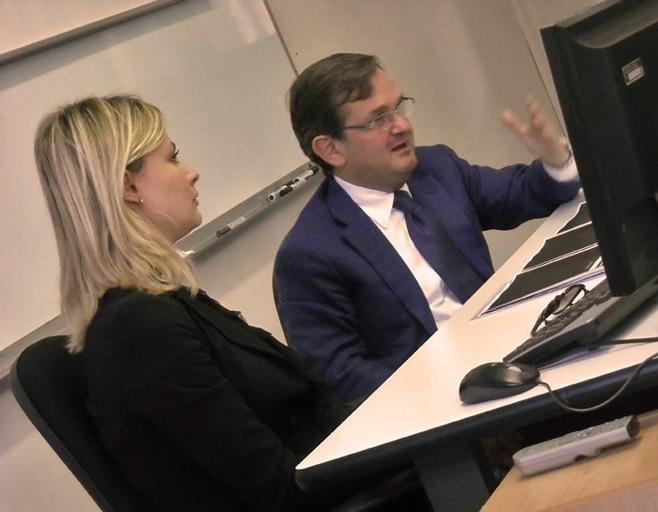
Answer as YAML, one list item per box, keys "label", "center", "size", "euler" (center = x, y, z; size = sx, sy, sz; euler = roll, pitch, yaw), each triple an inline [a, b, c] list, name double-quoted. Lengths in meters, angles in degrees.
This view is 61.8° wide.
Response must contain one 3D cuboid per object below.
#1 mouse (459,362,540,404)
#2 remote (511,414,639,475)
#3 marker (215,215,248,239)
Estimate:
- label: "mouse"
  center: [0.255, 0.188, 0.807]
  size: [0.092, 0.033, 0.064]
  euler: [-20, 5, 24]
- label: "remote"
  center: [0.295, 0.225, 0.651]
  size: [0.129, 0.031, 0.072]
  euler: [-22, -3, 7]
- label: "marker"
  center: [-0.427, -0.128, 2.482]
  size: [0.047, 0.057, 0.207]
  euler: [-4, 26, 42]
